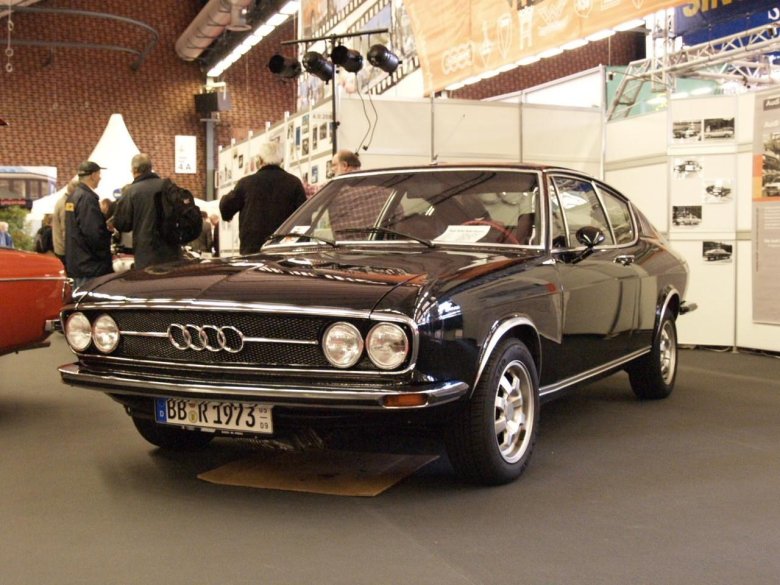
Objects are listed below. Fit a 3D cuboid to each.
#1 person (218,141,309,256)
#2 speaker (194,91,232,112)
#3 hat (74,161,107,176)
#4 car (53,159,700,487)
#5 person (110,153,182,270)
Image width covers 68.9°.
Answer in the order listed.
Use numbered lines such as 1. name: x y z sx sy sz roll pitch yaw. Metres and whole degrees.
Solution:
1. person: -1.400 -0.638 6.097 0.826 1.786 0.533 5 1 -19
2. speaker: -8.244 -8.760 26.211 1.670 0.938 0.592 1 3 29
3. hat: -3.485 -1.495 6.733 0.243 0.135 0.379 2 9 33
4. car: 0.228 0.065 3.486 3.590 1.837 1.667 -2 3 -42
5. person: -2.778 -0.765 6.205 0.568 1.546 0.666 26 36 18
